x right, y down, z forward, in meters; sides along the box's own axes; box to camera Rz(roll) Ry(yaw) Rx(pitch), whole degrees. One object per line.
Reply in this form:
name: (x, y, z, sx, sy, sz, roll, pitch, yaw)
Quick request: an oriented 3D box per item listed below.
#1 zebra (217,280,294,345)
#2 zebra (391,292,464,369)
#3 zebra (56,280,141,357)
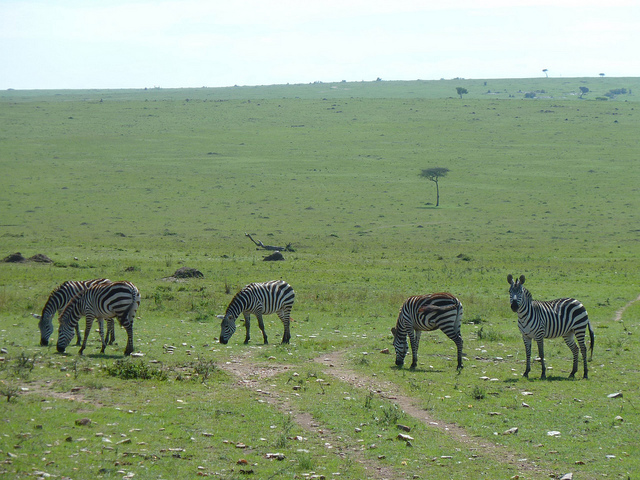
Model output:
zebra: (-2.972, 3.382, 55.054, 3.561, 2.832, 1.686, -1, 5, -10)
zebra: (4.893, 4.029, 52.920, 3.120, 3.302, 1.034, -1, 5, 2)
zebra: (-10.337, 3.218, 52.892, 3.068, 3.677, 2.968, -3, 8, -30)
